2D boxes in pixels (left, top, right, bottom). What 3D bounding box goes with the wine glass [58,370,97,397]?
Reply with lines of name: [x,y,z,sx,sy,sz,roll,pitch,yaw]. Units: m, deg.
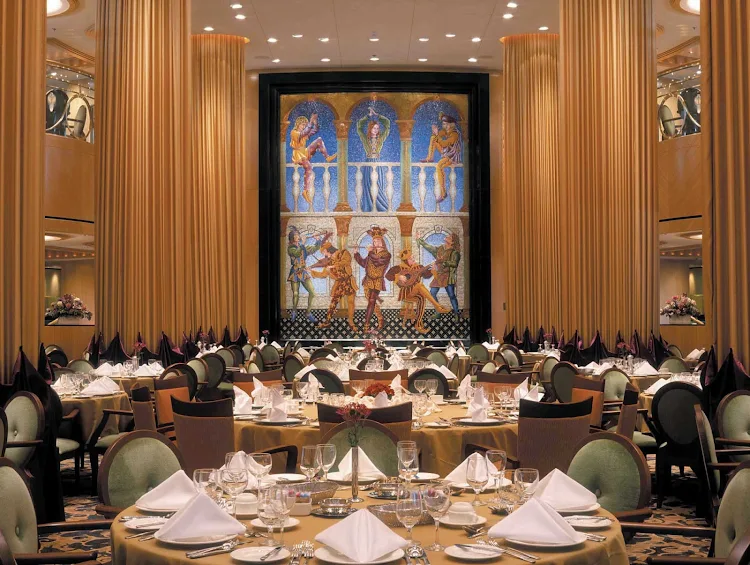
wine glass: [-3.147,1.035,7.595,0.240,0.251,0.305,1,-7,-5]

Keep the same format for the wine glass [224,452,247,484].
wine glass: [-0.661,0.874,3.460,0.105,0.145,0.123,0,-8,1]

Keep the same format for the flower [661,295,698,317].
flower: [6.512,0.507,15.424,0.605,0.512,0.681,-5,1,8]

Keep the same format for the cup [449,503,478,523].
cup: [0.420,1.083,3.469,0.097,0.077,0.074,0,-3,42]

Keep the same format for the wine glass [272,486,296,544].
wine glass: [-0.406,0.991,3.125,0.077,0.206,0.126,0,0,-9]

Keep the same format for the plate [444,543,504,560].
plate: [0.427,1.162,3.142,0.252,0.061,0.124,0,-1,-16]

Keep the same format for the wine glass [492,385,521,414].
wine glass: [1.089,0.976,6.058,0.186,0.374,0.203,-1,0,2]

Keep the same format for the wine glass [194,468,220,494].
wine glass: [-0.811,0.946,3.499,0.088,0.124,0.113,0,-7,0]

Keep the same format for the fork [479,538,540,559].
fork: [0.589,1.161,3.173,0.261,0.028,0.081,0,11,38]

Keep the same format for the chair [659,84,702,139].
chair: [5.873,-3.265,14.105,0.771,1.011,0.499,-1,-1,33]

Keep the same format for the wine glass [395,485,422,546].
wine glass: [0.156,1.024,3.218,0.112,0.232,0.300,-1,-1,4]

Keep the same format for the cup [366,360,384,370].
cup: [-0.017,0.887,7.861,0.121,0.111,0.120,0,-2,0]

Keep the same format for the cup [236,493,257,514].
cup: [-0.640,1.094,3.635,0.085,0.087,0.097,0,0,11]

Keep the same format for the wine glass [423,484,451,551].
wine glass: [0.272,1.021,3.252,0.109,0.265,0.342,-1,-1,6]

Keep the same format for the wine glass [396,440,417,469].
wine glass: [0.159,0.861,3.673,0.091,0.193,0.109,-2,-5,10]

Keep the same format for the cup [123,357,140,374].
cup: [-3.052,1.030,9.116,0.149,0.234,0.196,5,-9,-39]

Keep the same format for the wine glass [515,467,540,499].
wine glass: [0.703,0.931,3.463,0.109,0.155,0.119,-1,0,-16]
